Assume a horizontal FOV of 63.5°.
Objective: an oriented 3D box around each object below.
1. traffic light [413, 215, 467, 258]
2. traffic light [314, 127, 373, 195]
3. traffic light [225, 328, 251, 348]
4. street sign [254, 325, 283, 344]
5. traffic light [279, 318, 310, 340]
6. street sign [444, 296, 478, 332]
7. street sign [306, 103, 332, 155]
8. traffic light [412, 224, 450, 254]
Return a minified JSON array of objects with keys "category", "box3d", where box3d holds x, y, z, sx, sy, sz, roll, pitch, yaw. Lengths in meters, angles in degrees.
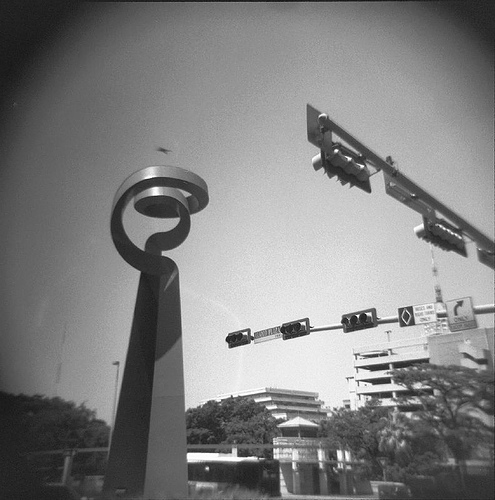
[{"category":"traffic light","box3d":[4.503,-0.402,9.361,1.394,0.801,0.336,18,-16,-24]},{"category":"traffic light","box3d":[1.824,-1.719,7.727,1.204,1.193,0.632,-4,-4,-39]},{"category":"traffic light","box3d":[-0.431,4.624,20.900,1.352,1.035,0.372,-14,-12,36]},{"category":"street sign","box3d":[1.003,4.302,20.299,0.748,0.733,2.774,-6,-6,-24]},{"category":"traffic light","box3d":[2.099,3.583,18.071,1.516,0.738,0.452,-12,-6,37]},{"category":"street sign","box3d":[6.996,2.156,13.229,0.802,1.199,2.272,-9,-4,25]},{"category":"street sign","box3d":[1.318,-2.210,7.399,0.466,0.835,0.503,-6,-3,-3]},{"category":"traffic light","box3d":[4.102,-0.267,9.047,1.051,0.669,0.312,-5,-4,-40]}]
